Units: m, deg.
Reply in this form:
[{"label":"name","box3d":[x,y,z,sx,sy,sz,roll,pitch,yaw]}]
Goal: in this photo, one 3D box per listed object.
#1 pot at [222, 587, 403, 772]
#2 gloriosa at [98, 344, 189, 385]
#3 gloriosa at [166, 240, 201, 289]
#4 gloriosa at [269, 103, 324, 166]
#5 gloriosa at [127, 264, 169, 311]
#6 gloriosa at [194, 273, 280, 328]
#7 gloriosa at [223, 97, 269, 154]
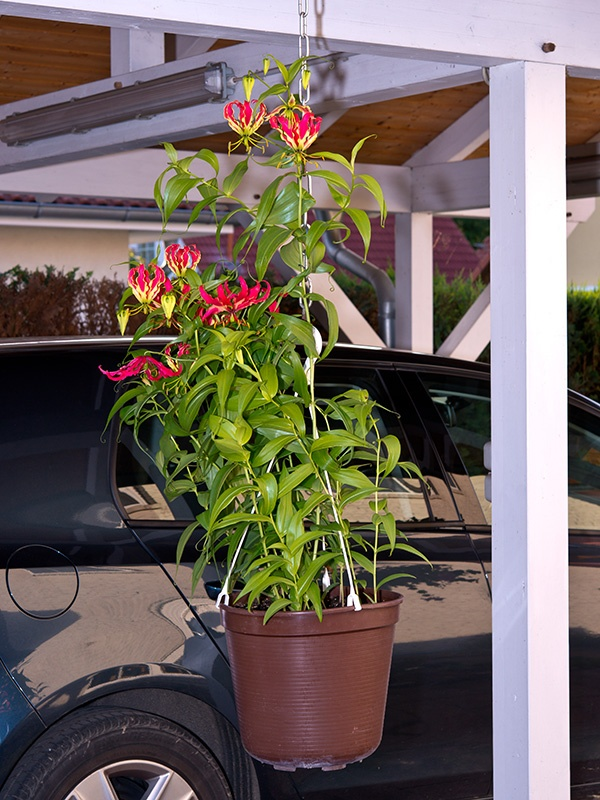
[{"label":"pot","box3d":[0.024,0.424,1.250,0.299,0.214,0.277,-1,-5,0]},{"label":"gloriosa","box3d":[-0.258,-0.050,1.265,0.098,0.027,0.097,-14,-8,32]},{"label":"gloriosa","box3d":[-0.172,-0.216,1.194,0.051,0.053,0.060,-3,-2,37]},{"label":"gloriosa","box3d":[-0.008,-0.408,1.172,0.087,0.077,0.039,14,-31,-19]},{"label":"gloriosa","box3d":[-0.228,-0.173,1.163,0.059,0.068,0.092,-3,14,-12]},{"label":"gloriosa","box3d":[-0.100,-0.149,1.156,0.092,0.086,0.036,-33,11,-16]},{"label":"gloriosa","box3d":[-0.081,-0.404,1.168,0.066,0.089,0.029,-10,-7,-20]}]
